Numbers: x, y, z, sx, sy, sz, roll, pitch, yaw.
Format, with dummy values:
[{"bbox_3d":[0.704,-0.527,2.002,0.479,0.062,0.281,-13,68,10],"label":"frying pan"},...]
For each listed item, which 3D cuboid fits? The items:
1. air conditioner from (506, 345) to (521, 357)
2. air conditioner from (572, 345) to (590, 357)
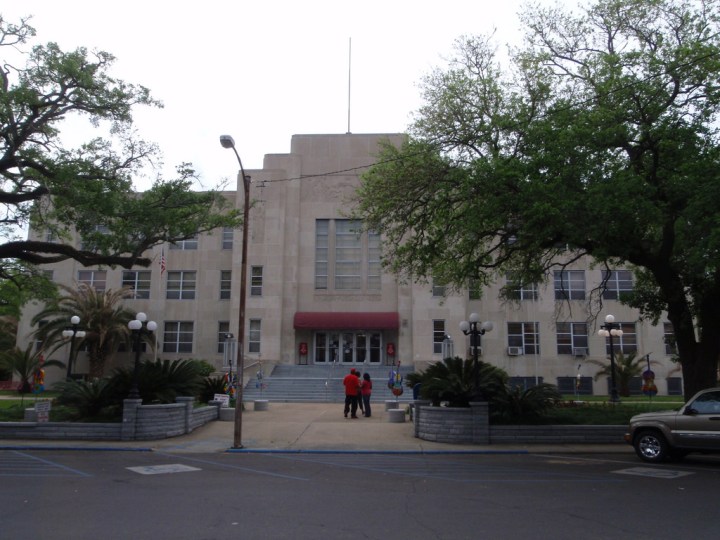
[{"bbox_3d":[10.279,5.389,48.634,0.983,0.703,0.273,-1,-11,4],"label":"air conditioner"},{"bbox_3d":[14.638,5.413,48.617,1.070,0.672,0.350,2,-11,-8],"label":"air conditioner"}]
